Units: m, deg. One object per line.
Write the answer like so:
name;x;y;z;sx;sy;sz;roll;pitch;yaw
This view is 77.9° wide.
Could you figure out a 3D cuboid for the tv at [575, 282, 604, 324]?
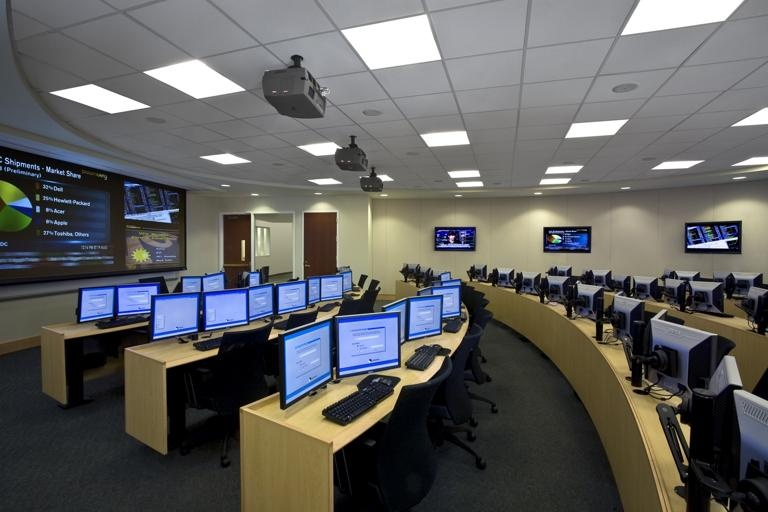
tv;2.938;0.649;6.892;0.157;0.439;0.470;-5;7;-19

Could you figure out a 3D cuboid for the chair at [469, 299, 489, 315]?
chair;1.443;0.779;7.272;0.255;0.349;0.285;4;-2;-23

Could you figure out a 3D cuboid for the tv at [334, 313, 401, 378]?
tv;-0.202;0.993;5.214;0.693;0.577;0.063;-2;1;-25

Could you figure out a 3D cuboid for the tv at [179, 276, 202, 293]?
tv;-3.226;0.490;7.937;0.233;0.225;0.113;2;4;6

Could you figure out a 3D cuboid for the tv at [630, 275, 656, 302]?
tv;4.368;0.566;8.026;0.123;0.380;0.375;4;-1;-42

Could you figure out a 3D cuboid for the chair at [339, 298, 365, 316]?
chair;-0.489;0.764;7.128;0.251;0.419;0.263;1;1;-43

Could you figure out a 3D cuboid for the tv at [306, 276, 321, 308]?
tv;-1.158;0.597;7.817;0.055;0.566;0.490;-1;-2;31

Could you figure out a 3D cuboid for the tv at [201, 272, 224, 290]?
tv;-2.961;0.453;8.305;0.282;0.365;0.524;-3;0;6

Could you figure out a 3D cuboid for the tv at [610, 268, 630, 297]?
tv;4.468;0.518;8.995;0.146;0.442;0.434;2;2;-24

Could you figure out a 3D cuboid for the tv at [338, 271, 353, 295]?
tv;-0.725;0.518;8.934;0.053;0.331;0.453;-2;-1;19

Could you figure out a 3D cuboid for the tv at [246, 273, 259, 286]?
tv;-2.394;0.433;8.660;0.106;0.217;0.220;-2;-6;25

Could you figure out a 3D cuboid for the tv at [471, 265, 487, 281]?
tv;2.231;0.411;11.194;0.107;0.290;0.329;10;-5;-40

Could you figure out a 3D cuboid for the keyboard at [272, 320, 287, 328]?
keyboard;-1.430;0.960;6.604;0.126;0.043;0.179;3;1;-2

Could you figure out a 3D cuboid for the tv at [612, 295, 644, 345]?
tv;2.867;0.766;5.595;0.193;0.579;0.602;0;4;-7

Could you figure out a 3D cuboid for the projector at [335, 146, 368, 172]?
projector;-0.513;-1.541;7.522;0.426;0.356;0.371;2;3;6

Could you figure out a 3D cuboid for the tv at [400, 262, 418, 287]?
tv;0.629;0.418;11.469;0.440;0.538;0.469;0;-10;2

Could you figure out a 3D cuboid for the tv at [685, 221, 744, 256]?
tv;7.553;-0.397;10.803;0.774;0.568;0.083;4;1;36

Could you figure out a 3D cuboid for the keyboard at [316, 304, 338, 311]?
keyboard;-0.912;0.844;7.702;0.146;0.038;0.267;0;4;14

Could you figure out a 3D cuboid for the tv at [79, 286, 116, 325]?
tv;-3.990;0.702;6.616;0.490;0.563;0.058;5;-5;-43

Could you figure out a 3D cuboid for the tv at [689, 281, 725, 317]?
tv;4.900;0.630;7.315;0.153;0.468;0.467;-5;4;-32

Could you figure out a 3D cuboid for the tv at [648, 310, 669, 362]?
tv;2.837;0.851;4.920;0.064;0.609;0.437;7;6;19

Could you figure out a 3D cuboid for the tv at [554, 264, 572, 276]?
tv;3.766;0.324;9.909;0.268;0.356;0.360;4;-4;-8

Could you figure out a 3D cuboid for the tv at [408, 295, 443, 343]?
tv;0.519;0.801;6.076;0.613;0.525;0.063;0;1;-40

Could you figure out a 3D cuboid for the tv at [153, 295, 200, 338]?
tv;-2.625;0.761;5.968;0.541;0.563;0.044;-4;5;-36

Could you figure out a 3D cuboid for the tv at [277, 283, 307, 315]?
tv;-1.418;0.631;7.276;0.081;0.483;0.626;5;6;34

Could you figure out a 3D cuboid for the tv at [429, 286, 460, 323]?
tv;0.833;0.683;6.648;0.514;0.493;0.067;3;-7;-39

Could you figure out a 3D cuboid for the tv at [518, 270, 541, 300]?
tv;2.780;0.586;9.113;0.190;0.488;0.481;-1;4;-43

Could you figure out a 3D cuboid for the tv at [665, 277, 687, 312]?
tv;4.638;0.643;7.621;0.183;0.504;0.508;-6;-2;-1

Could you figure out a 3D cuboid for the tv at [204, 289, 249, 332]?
tv;-2.088;0.720;6.263;0.548;0.465;0.065;-1;0;-36

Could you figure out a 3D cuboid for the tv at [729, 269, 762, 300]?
tv;6.211;0.514;8.193;0.225;0.404;0.417;7;-4;-28

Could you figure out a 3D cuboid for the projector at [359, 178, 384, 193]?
projector;-0.223;-1.326;8.854;0.323;0.198;0.330;1;3;2

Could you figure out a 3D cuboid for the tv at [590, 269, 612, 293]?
tv;3.863;0.461;8.461;0.132;0.386;0.406;4;-1;-32

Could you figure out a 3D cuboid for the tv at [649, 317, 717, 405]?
tv;2.925;1.057;4.881;0.243;0.691;0.744;1;7;-18

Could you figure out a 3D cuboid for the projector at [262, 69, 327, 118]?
projector;-1.079;-1.989;5.843;0.611;0.377;0.771;6;-5;10

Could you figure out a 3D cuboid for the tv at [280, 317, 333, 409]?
tv;-0.781;1.130;4.845;0.092;0.795;0.848;-2;0;32

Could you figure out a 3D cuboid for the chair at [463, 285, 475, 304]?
chair;1.477;0.690;8.307;0.136;0.245;0.242;1;13;-29

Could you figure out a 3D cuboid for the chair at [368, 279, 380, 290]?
chair;-0.279;0.644;10.542;0.190;0.238;0.322;3;6;34

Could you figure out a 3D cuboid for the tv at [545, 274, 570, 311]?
tv;2.916;0.641;8.001;0.185;0.523;0.522;1;2;-42

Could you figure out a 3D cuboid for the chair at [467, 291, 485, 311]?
chair;1.478;0.715;7.646;0.233;0.281;0.265;5;-3;-36

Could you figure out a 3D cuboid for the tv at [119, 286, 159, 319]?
tv;-3.439;0.641;6.651;0.490;0.405;0.065;-1;-1;-33

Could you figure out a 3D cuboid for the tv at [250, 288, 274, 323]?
tv;-1.741;0.698;6.728;0.055;0.469;0.401;-1;-19;37

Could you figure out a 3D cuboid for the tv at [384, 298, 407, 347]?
tv;0.142;0.795;5.543;0.060;0.581;0.583;0;-3;28
